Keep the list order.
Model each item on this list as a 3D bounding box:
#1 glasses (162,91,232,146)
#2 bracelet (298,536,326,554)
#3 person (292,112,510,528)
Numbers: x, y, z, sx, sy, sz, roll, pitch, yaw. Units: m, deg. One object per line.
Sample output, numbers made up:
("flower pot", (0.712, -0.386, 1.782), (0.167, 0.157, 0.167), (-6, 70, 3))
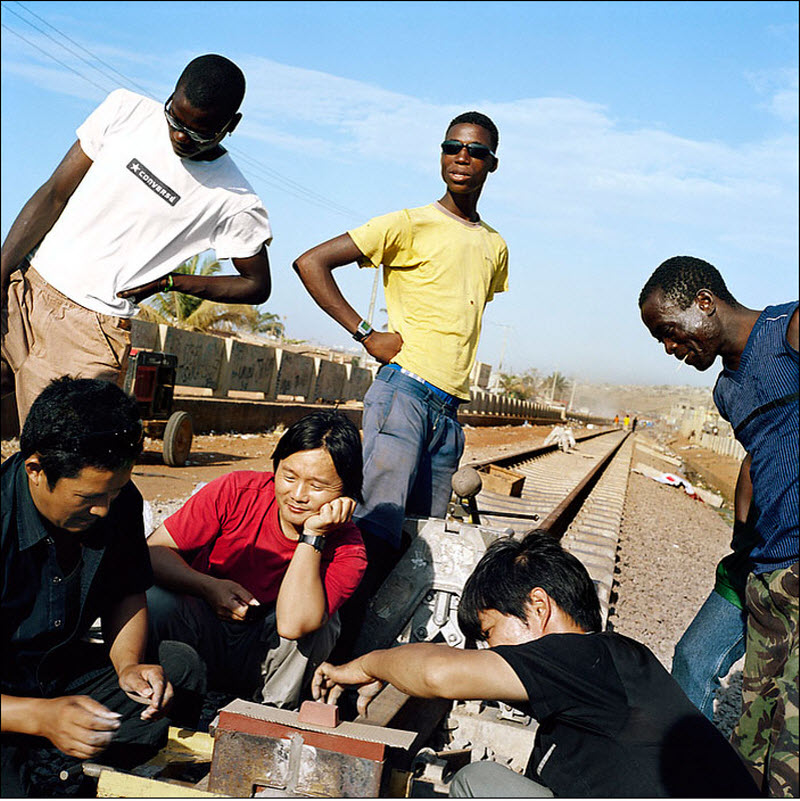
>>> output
("glasses", (-1.010, -1.308, 2.856), (0.311, 0.144, 0.203), (10, 5, -23))
("bracelet", (-0.341, 0.554, 2.259), (0.088, 0.058, 0.089), (-10, -24, 30))
("person", (0.134, -0.476, 3.162), (0.729, 1.862, 1.122), (16, 6, 38))
